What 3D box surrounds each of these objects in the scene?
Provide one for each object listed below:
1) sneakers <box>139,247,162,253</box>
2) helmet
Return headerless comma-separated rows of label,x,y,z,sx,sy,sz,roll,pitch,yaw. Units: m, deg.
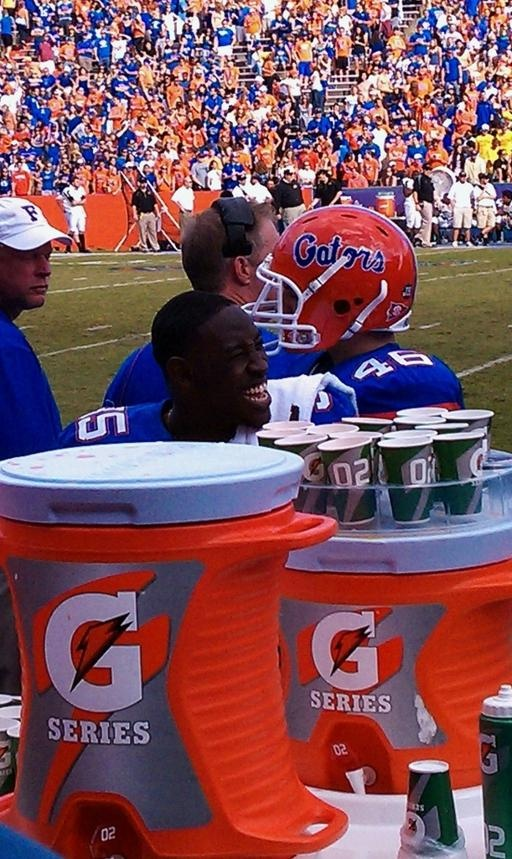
sneakers,-2.185,-3.745,19.720,0.227,0.109,0.293,0,2,9
helmet,0.276,-0.397,2.397,0.429,0.336,0.319,4,11,10
